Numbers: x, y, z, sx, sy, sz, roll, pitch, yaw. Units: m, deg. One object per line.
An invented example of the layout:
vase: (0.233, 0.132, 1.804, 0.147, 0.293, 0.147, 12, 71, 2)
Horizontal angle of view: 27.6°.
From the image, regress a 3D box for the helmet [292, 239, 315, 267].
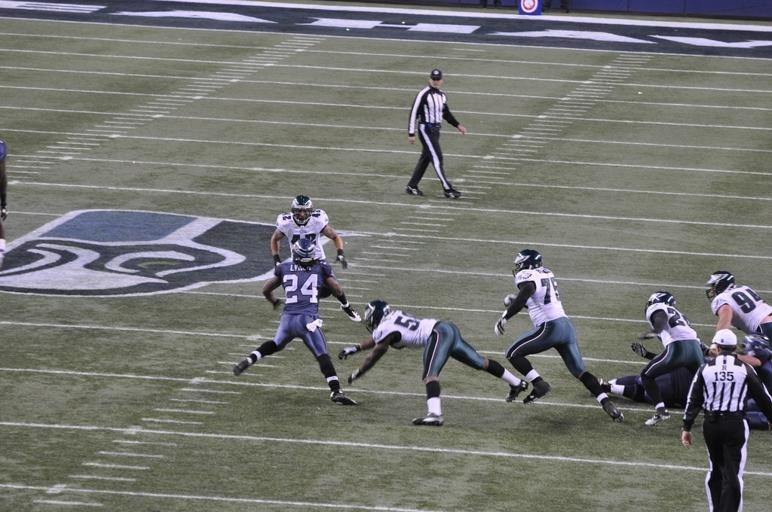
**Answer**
helmet: (-1.170, -0.069, 22.939, 0.416, 0.355, 0.408, 3, 30, -6)

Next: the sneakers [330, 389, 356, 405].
sneakers: (-0.683, 2.040, 22.630, 0.548, 0.171, 0.141, 9, 29, -2)

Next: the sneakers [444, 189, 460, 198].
sneakers: (1.244, -1.217, 29.877, 0.193, 0.107, 0.290, -27, 27, -38)

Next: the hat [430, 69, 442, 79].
hat: (0.974, -3.456, 29.539, 0.243, 0.137, 0.315, 3, -7, 3)

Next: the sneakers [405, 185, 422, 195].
sneakers: (0.510, -1.287, 30.054, 0.414, 0.104, 0.146, 11, -33, -22)

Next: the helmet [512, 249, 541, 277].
helmet: (2.050, 0.054, 23.087, 0.545, 0.354, 0.377, 4, 5, 23)

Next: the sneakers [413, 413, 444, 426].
sneakers: (0.613, 2.323, 22.229, 0.526, 0.158, 0.149, 4, -20, 0)

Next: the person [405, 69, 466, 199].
person: (0.909, -2.371, 29.889, 1.108, 2.481, 1.220, -2, 18, 2)

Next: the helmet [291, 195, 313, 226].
helmet: (-1.300, -0.731, 24.552, 0.334, 0.475, 0.318, -4, 17, -2)

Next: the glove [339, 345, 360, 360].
glove: (-0.531, 1.397, 22.775, 0.344, 0.112, 0.291, -10, 0, 18)
